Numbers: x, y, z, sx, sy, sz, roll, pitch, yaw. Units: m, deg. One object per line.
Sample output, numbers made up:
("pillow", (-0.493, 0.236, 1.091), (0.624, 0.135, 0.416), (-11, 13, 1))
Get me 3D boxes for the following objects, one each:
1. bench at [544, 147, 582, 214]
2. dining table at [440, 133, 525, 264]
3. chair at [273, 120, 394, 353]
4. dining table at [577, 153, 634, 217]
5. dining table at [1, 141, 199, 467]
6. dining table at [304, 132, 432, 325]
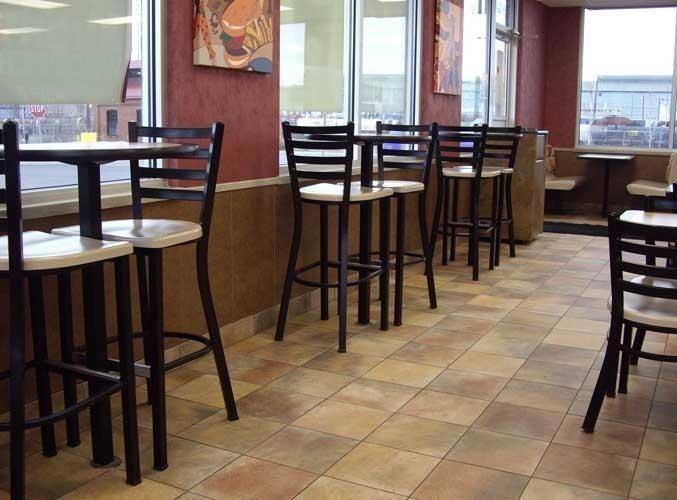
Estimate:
("bench", (3.649, -1.087, 9.602), (0.594, 1.089, 1.060), (2, 8, 23))
("dining table", (1.466, -0.616, 6.518), (0.575, 1.382, 0.666), (2, 12, 15))
("chair", (-0.018, -0.167, 4.041), (0.748, 1.384, 1.148), (1, 13, 4))
("dining table", (4.217, -1.045, 9.417), (0.797, 0.916, 0.950), (7, 14, 26))
("dining table", (-0.972, 0.065, 2.859), (1.024, 1.651, 0.998), (-6, 11, -31))
("dining table", (0.402, -0.225, 4.520), (0.555, 1.512, 0.625), (8, 15, 44))
